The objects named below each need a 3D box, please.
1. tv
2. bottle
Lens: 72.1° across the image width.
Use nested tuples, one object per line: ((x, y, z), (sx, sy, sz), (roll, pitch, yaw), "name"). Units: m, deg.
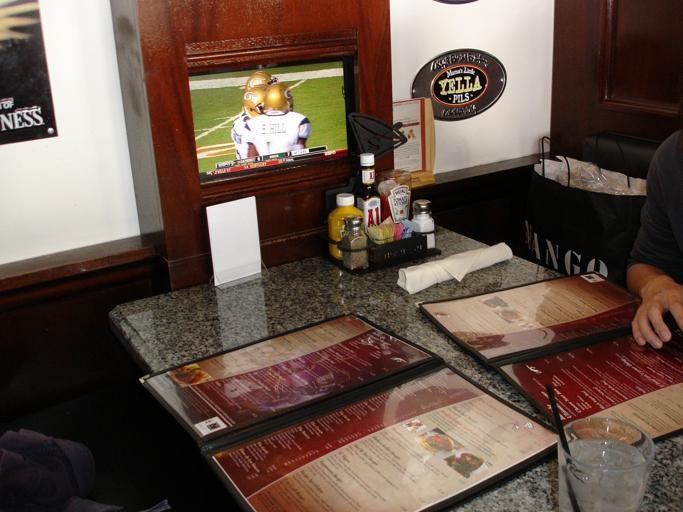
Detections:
((-0.257, -0.494, 1.684), (0.756, 0.355, 0.004), (2, 10, 31), "tv")
((0.134, -0.159, 1.743), (0.487, 0.375, 0.334), (-15, 24, -32), "bottle")
